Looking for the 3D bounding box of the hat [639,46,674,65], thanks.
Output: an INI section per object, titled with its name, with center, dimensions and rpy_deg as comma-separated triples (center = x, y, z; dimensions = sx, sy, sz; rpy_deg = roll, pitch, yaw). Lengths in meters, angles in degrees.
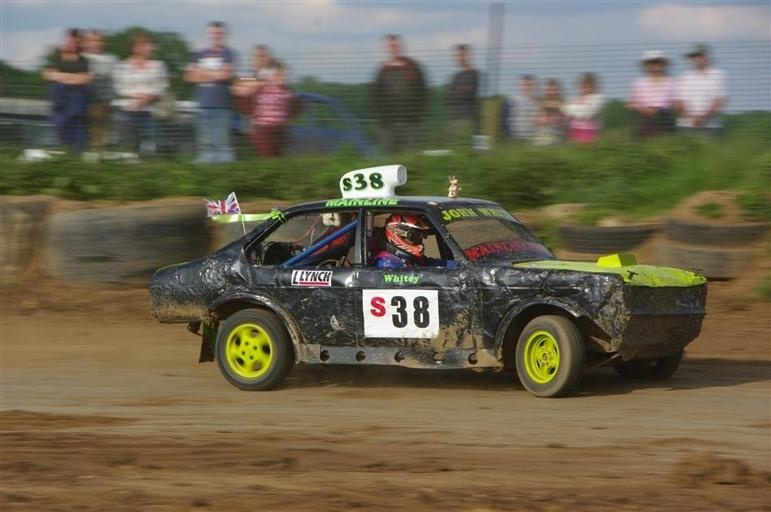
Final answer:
[hat]
center = 3.534, -2.638, 17.036
dimensions = 0.362, 0.169, 0.068
rpy_deg = 6, 17, 34
